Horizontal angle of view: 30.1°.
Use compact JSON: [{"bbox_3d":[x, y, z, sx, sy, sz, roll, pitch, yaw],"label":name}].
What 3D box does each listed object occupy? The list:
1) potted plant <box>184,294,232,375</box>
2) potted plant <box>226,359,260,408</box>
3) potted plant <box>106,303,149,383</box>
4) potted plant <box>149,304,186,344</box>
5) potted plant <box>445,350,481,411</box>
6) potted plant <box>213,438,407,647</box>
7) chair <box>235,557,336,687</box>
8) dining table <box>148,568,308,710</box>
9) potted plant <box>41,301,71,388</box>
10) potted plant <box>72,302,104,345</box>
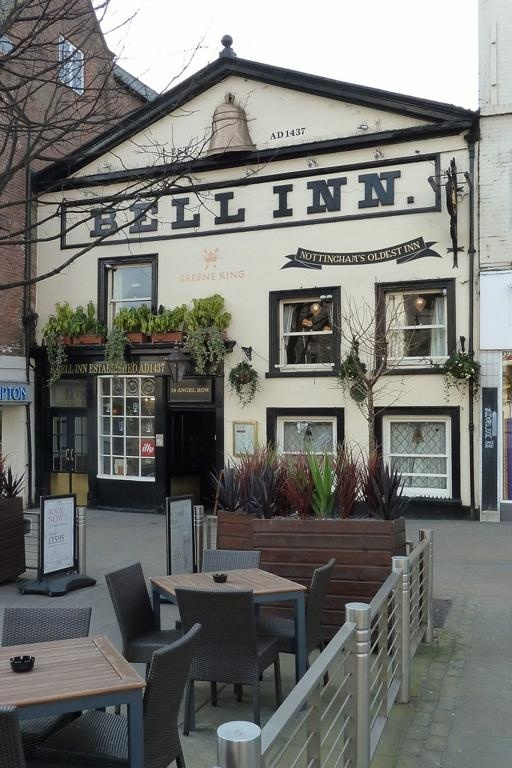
[{"bbox_3d":[-0.770,-0.781,15.241,0.741,1.256,0.607,-2,0,-3],"label":"potted plant"},{"bbox_3d":[-0.178,-0.009,15.030,0.429,0.707,0.342,-3,-4,-3],"label":"potted plant"},{"bbox_3d":[-2.219,-0.650,16.349,0.962,1.699,0.887,1,-4,1],"label":"potted plant"},{"bbox_3d":[-1.388,-0.883,15.845,0.678,0.790,0.536,-1,-3,25],"label":"potted plant"},{"bbox_3d":[2.921,-0.089,13.442,0.447,0.699,0.670,3,38,13],"label":"potted plant"},{"bbox_3d":[0.377,1.159,6.787,1.091,1.283,0.527,-3,-10,22],"label":"potted plant"},{"bbox_3d":[0.252,1.503,6.538,0.646,1.076,0.533,1,-4,17],"label":"chair"},{"bbox_3d":[-0.092,1.744,6.077,0.933,0.810,0.736,-6,-8,40],"label":"dining table"},{"bbox_3d":[-3.534,-0.713,16.909,0.581,1.401,0.333,-1,0,43],"label":"potted plant"},{"bbox_3d":[-2.927,-1.040,16.788,0.659,0.989,0.643,0,-4,-1],"label":"potted plant"}]
